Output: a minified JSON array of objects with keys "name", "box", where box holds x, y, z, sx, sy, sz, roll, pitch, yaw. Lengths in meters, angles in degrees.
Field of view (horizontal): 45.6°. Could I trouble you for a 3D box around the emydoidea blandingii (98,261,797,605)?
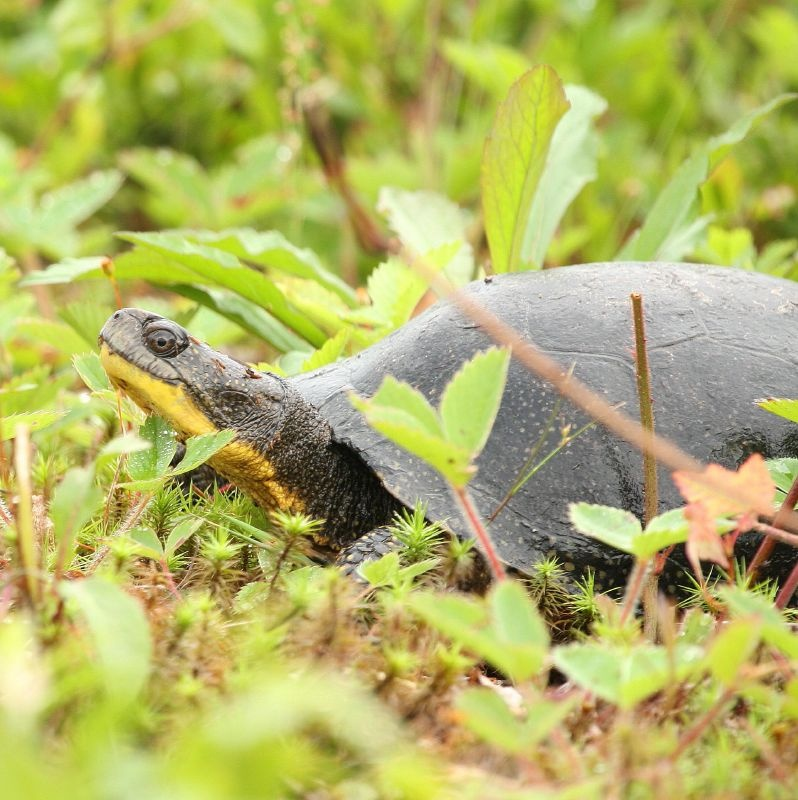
[{"name":"emydoidea blandingii","box":[0.131,0.060,1.843,1.353,0.306,0.609,0,27,-13]}]
